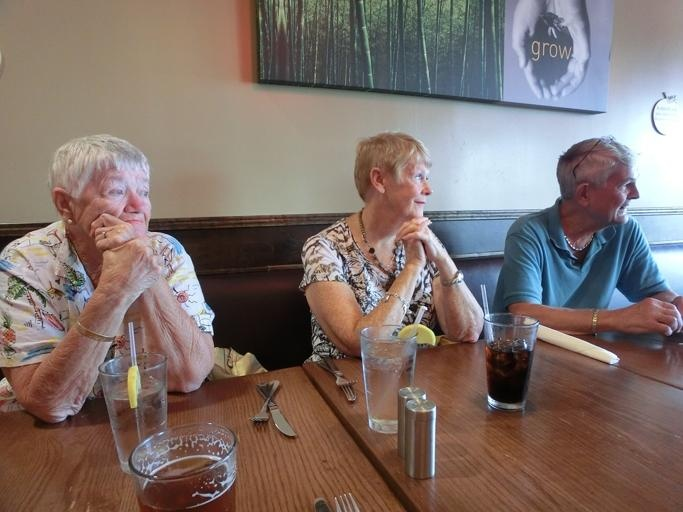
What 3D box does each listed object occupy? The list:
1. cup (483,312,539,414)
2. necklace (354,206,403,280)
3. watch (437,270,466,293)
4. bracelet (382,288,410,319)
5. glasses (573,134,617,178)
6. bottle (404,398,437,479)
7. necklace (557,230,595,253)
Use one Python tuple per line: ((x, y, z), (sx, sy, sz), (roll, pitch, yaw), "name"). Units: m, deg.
((0.429, 0.274, 1.298), (0.136, 0.232, 0.143), (-7, 7, 1), "cup")
((0.152, -0.049, 2.032), (0.170, 0.269, 0.043), (-8, -9, -33), "necklace")
((0.414, 0.104, 1.901), (0.076, 0.036, 0.071), (-18, 9, 15), "watch")
((0.190, 0.162, 1.795), (0.079, 0.035, 0.100), (7, 47, -48), "bracelet")
((1.086, -0.424, 2.131), (0.172, 0.160, 0.062), (-4, 14, -1), "glasses")
((0.167, 0.390, 1.058), (0.065, 0.168, 0.044), (-2, 14, 6), "bottle")
((1.065, -0.047, 2.228), (0.103, 0.110, 0.026), (3, 21, -6), "necklace")
